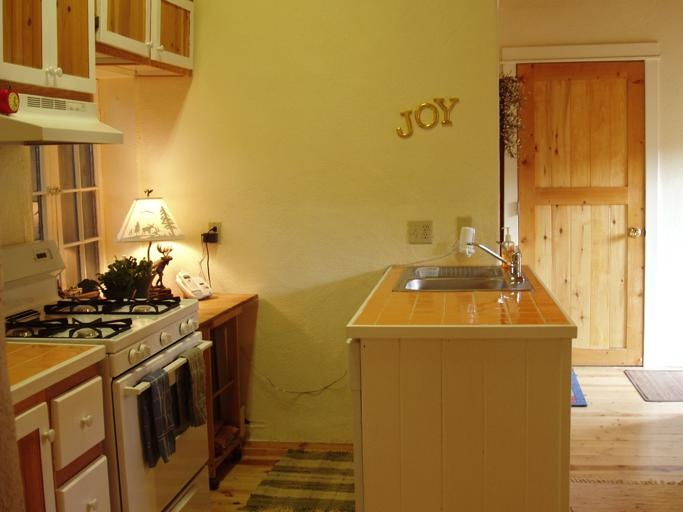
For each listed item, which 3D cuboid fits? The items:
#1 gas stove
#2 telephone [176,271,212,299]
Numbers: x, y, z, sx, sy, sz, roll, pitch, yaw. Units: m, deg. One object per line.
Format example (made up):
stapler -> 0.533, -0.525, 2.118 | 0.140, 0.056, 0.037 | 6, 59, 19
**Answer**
gas stove -> -1.074, 0.252, 2.414 | 0.598, 0.049, 0.595 | 1, 9, 13
telephone -> -0.873, 0.173, 3.351 | 0.139, 0.159, 0.187 | 3, 10, 26
